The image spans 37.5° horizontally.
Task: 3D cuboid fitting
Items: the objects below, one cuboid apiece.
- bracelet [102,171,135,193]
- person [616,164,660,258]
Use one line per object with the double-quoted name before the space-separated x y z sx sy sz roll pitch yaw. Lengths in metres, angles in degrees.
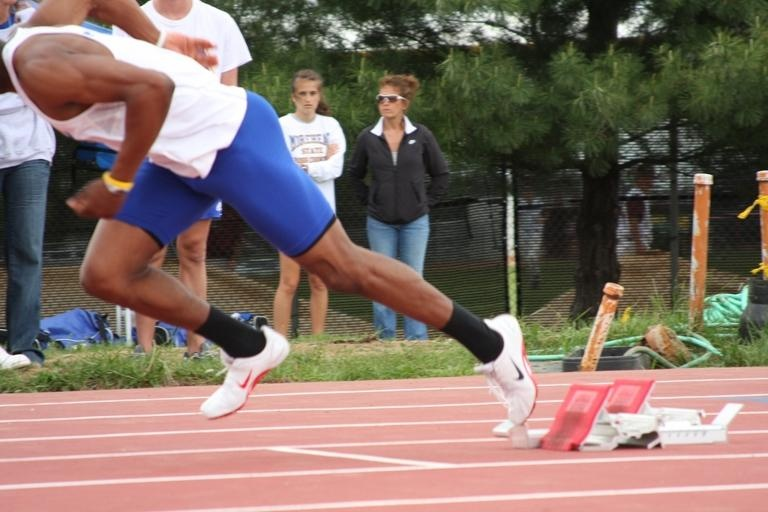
"bracelet" -1.464 -0.389 6.159 0.139 0.049 0.119 29 -9 -30
"person" 2.760 -0.495 12.421 0.368 0.998 0.170 2 12 12
